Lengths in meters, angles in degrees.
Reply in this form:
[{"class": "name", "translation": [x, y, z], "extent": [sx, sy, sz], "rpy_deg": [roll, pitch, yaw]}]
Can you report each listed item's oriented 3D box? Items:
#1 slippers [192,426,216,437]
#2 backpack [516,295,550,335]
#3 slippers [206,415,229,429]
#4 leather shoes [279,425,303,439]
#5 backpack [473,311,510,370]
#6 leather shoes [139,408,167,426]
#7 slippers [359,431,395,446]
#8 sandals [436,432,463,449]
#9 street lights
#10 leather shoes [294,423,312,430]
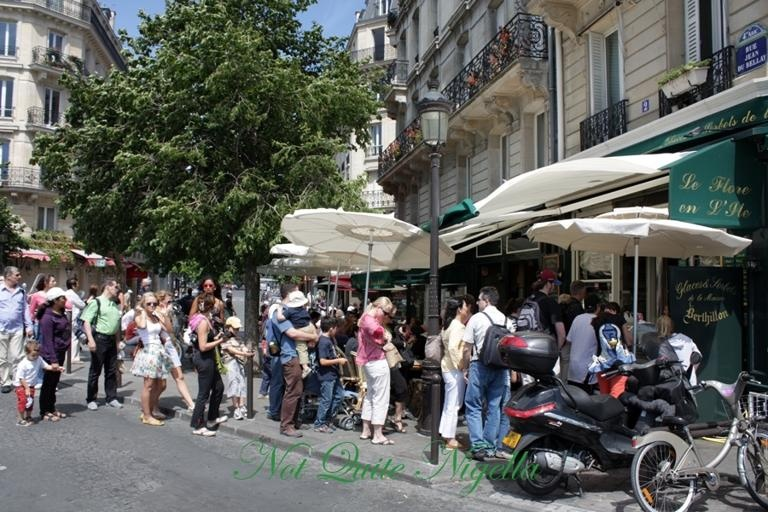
[{"class": "slippers", "translation": [-3.323, 3.250, 16.111], "extent": [0.409, 0.178, 0.165], "rpy_deg": [0, -4, 3]}, {"class": "backpack", "translation": [2.619, 1.025, 16.058], "extent": [0.437, 0.627, 0.654], "rpy_deg": [13, 30, 30]}, {"class": "slippers", "translation": [-3.158, 3.151, 16.572], "extent": [0.357, 0.153, 0.131], "rpy_deg": [-24, 20, -8]}, {"class": "leather shoes", "translation": [-1.653, 3.169, 15.692], "extent": [0.330, 0.123, 0.187], "rpy_deg": [1, 2, 18]}, {"class": "backpack", "translation": [1.791, 1.460, 14.401], "extent": [0.423, 0.794, 0.452], "rpy_deg": [-1, -1, -9]}, {"class": "leather shoes", "translation": [-4.497, 3.140, 16.807], "extent": [0.641, 0.261, 0.219], "rpy_deg": [-2, -2, 25]}, {"class": "slippers", "translation": [-0.108, 3.266, 15.572], "extent": [0.690, 0.294, 0.213], "rpy_deg": [-2, -5, 2]}, {"class": "sandals", "translation": [1.156, 3.221, 15.191], "extent": [0.395, 0.249, 0.219], "rpy_deg": [-3, 4, -4]}, {"class": "street lights", "translation": [0.885, -0.010, 15.242], "extent": [0.828, 6.326, 0.836], "rpy_deg": [-4, -9, 34]}, {"class": "leather shoes", "translation": [-1.530, 3.204, 16.351], "extent": [0.310, 0.125, 0.105], "rpy_deg": [0, 12, -2]}]
